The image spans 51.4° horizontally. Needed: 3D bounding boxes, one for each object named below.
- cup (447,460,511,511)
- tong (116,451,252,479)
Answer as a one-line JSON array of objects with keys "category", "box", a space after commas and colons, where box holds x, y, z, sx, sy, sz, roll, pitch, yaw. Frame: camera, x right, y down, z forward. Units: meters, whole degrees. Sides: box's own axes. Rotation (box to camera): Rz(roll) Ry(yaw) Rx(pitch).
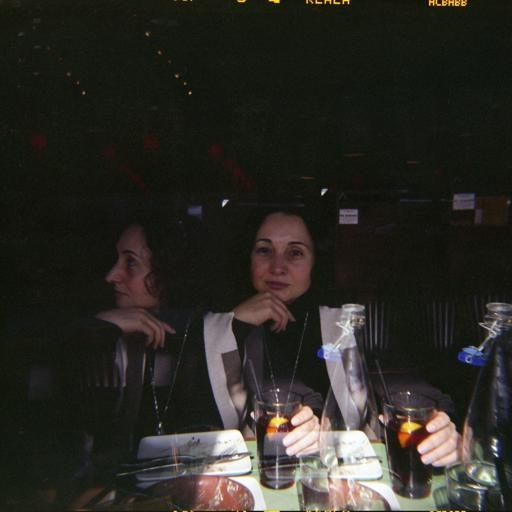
[{"category": "cup", "box": [0.526, 0.554, 1.277, 0.134, 0.071, 0.119, -1, 4, 15]}, {"category": "tong", "box": [-0.184, 0.551, 1.392, 0.221, 0.033, 0.146, -6, -2, 6]}]
